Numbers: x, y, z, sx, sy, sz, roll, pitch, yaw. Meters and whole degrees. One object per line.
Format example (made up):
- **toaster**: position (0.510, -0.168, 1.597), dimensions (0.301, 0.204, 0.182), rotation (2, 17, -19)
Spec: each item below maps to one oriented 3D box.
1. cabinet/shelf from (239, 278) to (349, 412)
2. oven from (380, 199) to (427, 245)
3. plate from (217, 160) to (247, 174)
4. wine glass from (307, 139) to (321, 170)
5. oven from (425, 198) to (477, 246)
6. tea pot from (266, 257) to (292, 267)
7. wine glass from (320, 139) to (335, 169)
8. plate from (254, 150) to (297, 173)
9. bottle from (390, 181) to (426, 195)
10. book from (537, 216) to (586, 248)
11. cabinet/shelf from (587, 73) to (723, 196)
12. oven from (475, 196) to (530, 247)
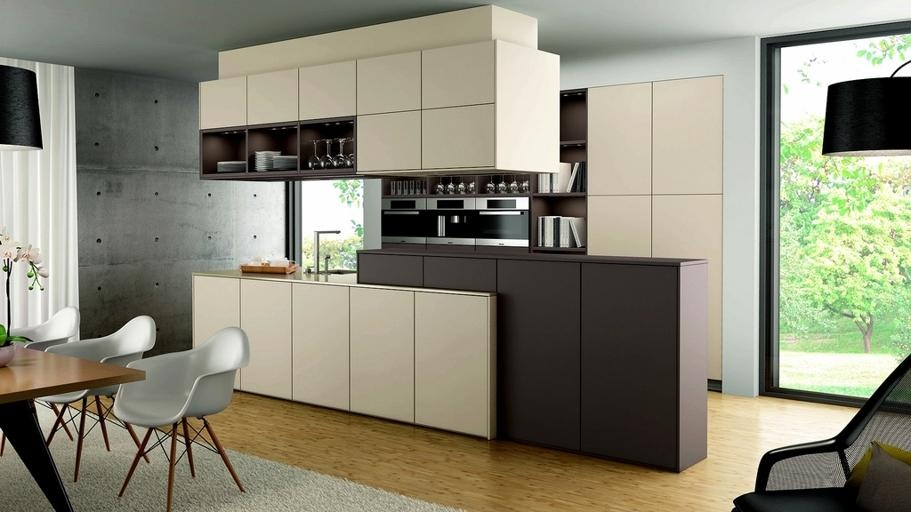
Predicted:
- **cabinet/shelf**: position (-1.843, 1.043, 7.121), dimensions (1.710, 1.263, 0.538), rotation (0, -1, 30)
- **oven**: position (-0.725, -0.585, 10.040), dimensions (0.855, 0.683, 0.583), rotation (3, 8, 29)
- **plate**: position (-2.946, -1.180, 7.984), dimensions (0.258, 0.080, 0.245), rotation (0, -1, -27)
- **wine glass**: position (-1.733, -1.256, 7.450), dimensions (0.152, 0.343, 0.332), rotation (-2, 12, -12)
- **oven**: position (-0.007, -0.546, 9.523), dimensions (0.896, 0.704, 0.302), rotation (3, 6, 25)
- **tea pot**: position (-2.302, 0.080, 7.788), dimensions (0.373, 0.112, 0.257), rotation (3, 2, 28)
- **wine glass**: position (-1.579, -1.266, 7.432), dimensions (0.167, 0.339, 0.509), rotation (-2, 12, -12)
- **plate**: position (-2.270, -1.201, 7.662), dimensions (0.418, 0.160, 0.315), rotation (2, 3, 10)
- **bottle**: position (-0.760, -1.091, 9.635), dimensions (0.691, 0.259, 0.086), rotation (6, 14, 27)
- **book**: position (1.498, -0.340, 8.562), dimensions (0.677, 0.442, 0.233), rotation (2, 12, 6)
- **cabinet/shelf**: position (2.699, -1.618, 7.970), dimensions (1.928, 1.413, 0.613), rotation (1, 1, 31)
- **oven**: position (0.529, -0.493, 9.150), dimensions (1.029, 0.743, 0.703), rotation (-2, 1, -39)
